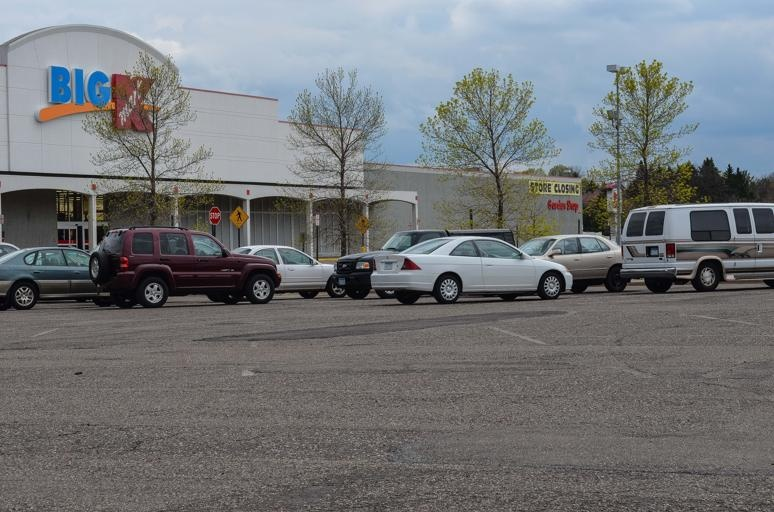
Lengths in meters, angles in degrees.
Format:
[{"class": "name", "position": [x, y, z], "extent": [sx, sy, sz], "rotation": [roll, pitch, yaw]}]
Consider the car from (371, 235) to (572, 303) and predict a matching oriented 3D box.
[{"class": "car", "position": [2.107, 0.101, 21.376], "extent": [4.381, 1.465, 2.010], "rotation": [-3, 2, -26]}]

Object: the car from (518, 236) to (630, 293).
[{"class": "car", "position": [6.130, 0.223, 26.171], "extent": [3.156, 1.260, 1.723], "rotation": [2, -4, -27]}]

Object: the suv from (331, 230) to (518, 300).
[{"class": "suv", "position": [0.843, 0.139, 25.283], "extent": [5.360, 1.935, 2.470], "rotation": [1, -4, -33]}]

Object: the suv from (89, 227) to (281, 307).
[{"class": "suv", "position": [-5.839, 0.303, 23.060], "extent": [4.715, 2.001, 2.174], "rotation": [-4, 2, -32]}]

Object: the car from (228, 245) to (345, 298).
[{"class": "car", "position": [-3.111, 0.496, 25.877], "extent": [3.493, 1.254, 1.615], "rotation": [-1, 0, -35]}]
